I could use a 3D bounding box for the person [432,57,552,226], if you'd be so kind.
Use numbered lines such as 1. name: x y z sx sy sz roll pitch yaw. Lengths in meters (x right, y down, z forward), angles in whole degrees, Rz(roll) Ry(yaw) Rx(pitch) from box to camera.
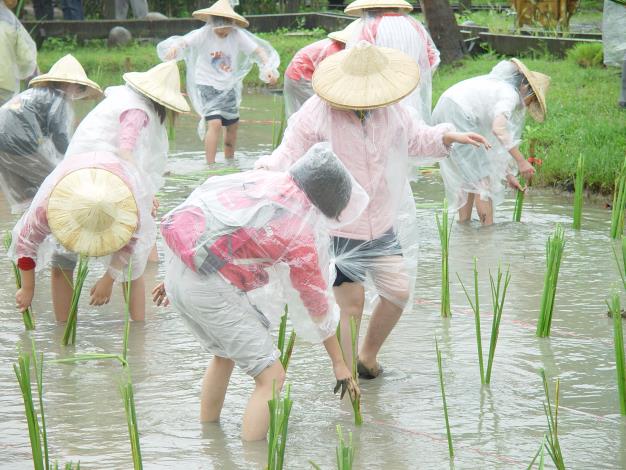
1. person: 1.514 -0.698 7.907 0.969 1.696 0.661 -3 20 -6

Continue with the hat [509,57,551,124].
1. hat: 1.824 -1.208 7.625 0.317 0.552 0.814 3 13 14

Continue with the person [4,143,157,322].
1. person: -1.446 0.112 5.807 0.952 1.381 0.677 -4 36 -14

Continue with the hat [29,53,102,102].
1. hat: -1.592 -1.047 5.973 0.355 0.168 0.355 -2 6 -37

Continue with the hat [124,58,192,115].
1. hat: -0.973 -1.004 5.831 0.437 0.237 0.463 -1 33 -46

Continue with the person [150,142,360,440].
1. person: -0.341 0.395 4.805 1.182 1.720 0.807 7 18 12

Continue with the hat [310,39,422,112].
1. hat: 0.313 -0.867 4.951 0.446 0.150 0.450 28 54 27

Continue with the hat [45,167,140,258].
1. hat: -1.308 -0.142 5.376 0.514 0.496 0.190 -3 13 -13

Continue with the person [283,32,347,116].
1. person: -0.039 -1.532 9.290 0.541 1.012 0.404 2 12 -36
